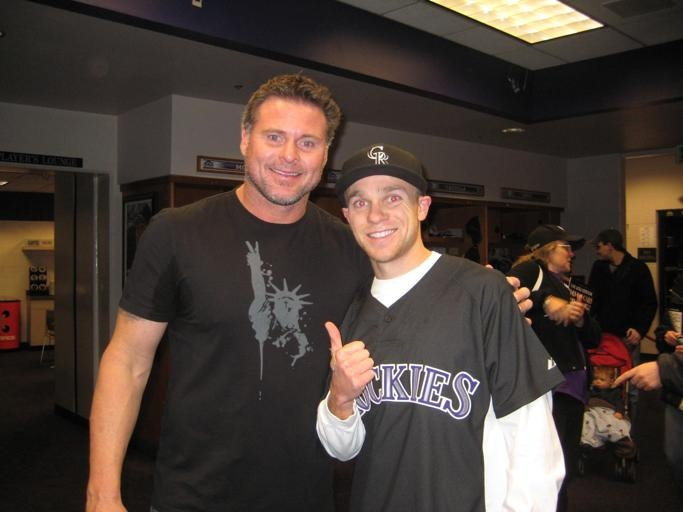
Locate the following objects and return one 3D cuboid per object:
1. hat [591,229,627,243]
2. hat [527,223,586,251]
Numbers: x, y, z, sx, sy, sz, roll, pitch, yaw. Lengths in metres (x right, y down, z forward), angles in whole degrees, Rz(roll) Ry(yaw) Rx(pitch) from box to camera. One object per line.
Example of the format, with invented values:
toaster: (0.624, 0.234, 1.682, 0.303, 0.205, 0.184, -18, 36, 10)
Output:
hat: (3.272, -0.233, 6.670, 0.300, 0.187, 0.227, 20, 15, 38)
hat: (1.850, -0.168, 4.629, 0.480, 0.242, 0.323, -1, 5, 10)
